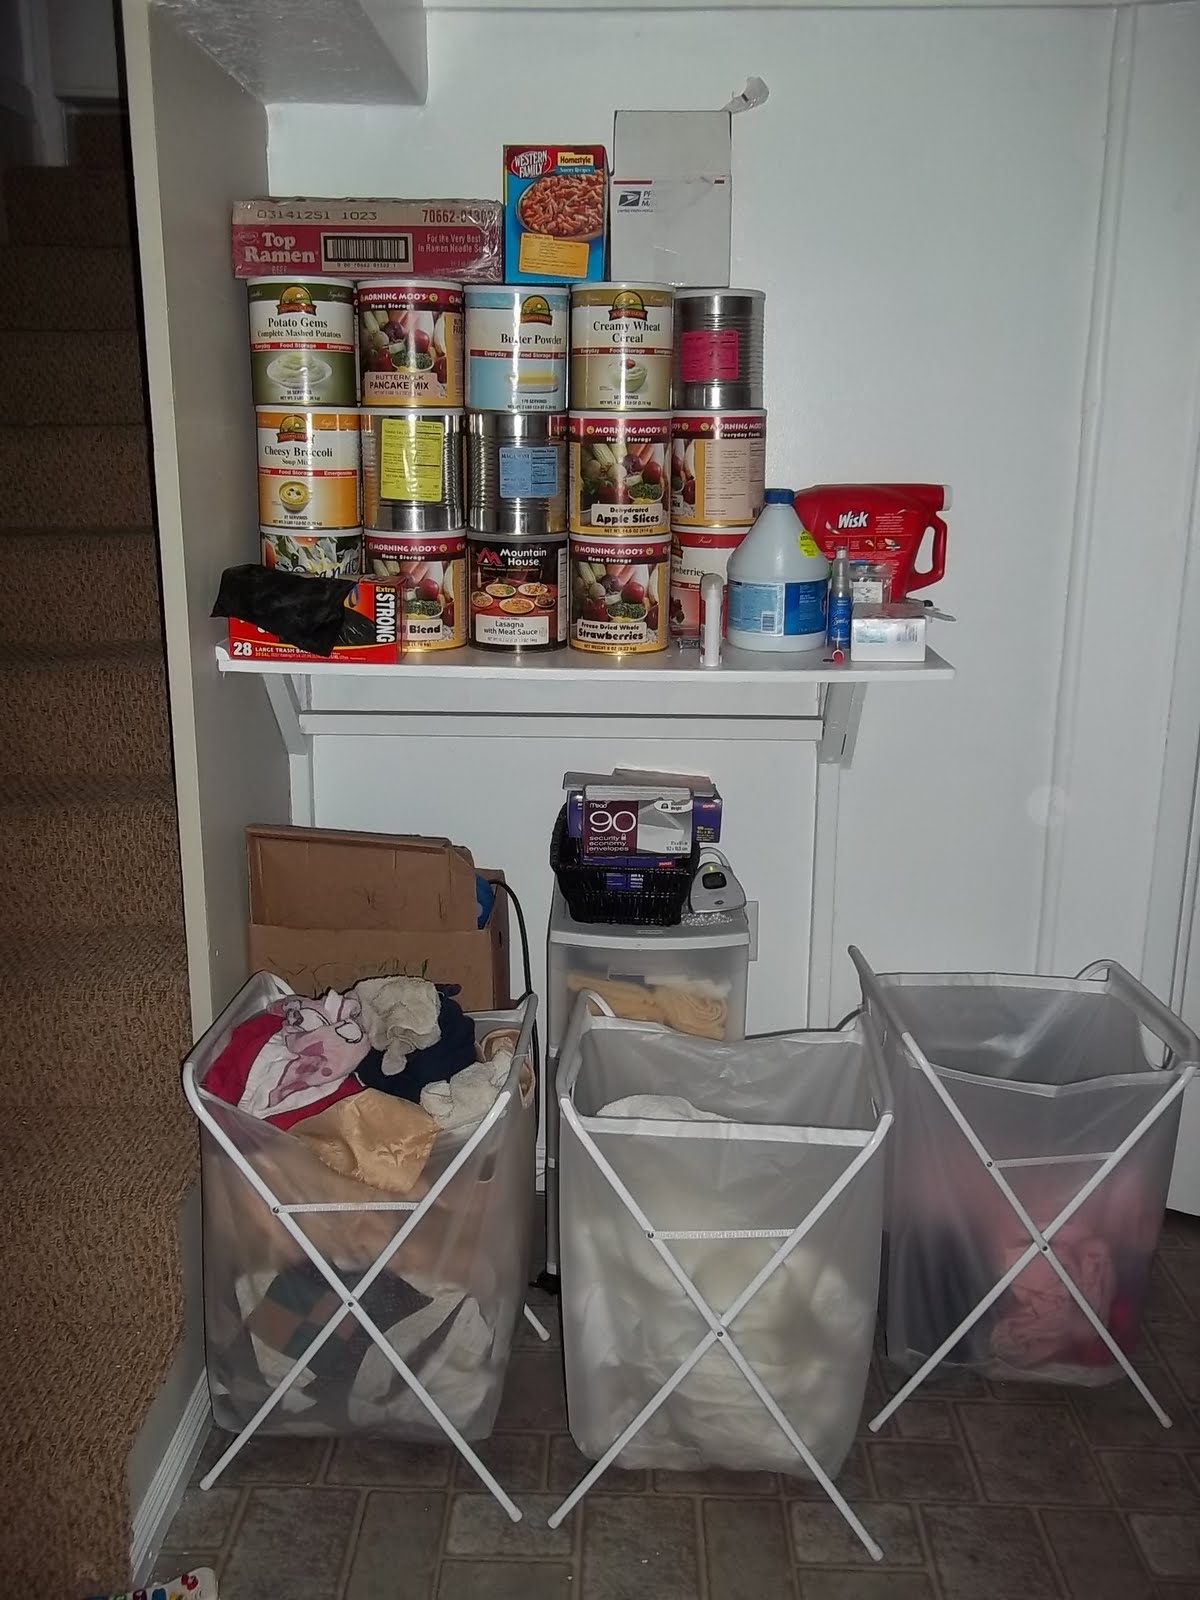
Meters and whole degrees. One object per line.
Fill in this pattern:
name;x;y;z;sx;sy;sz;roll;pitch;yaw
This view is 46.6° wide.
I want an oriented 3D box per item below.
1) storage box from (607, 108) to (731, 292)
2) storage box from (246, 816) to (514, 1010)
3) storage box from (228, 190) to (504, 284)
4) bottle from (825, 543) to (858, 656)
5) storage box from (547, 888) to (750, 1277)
storage box;0.090;-0.782;1.801;0.154;0.213;0.076;1;16;0
storage box;-0.351;0.204;1.937;0.346;0.312;0.181;6;-11;-36
storage box;-0.281;-0.683;1.684;0.325;0.104;0.142;-3;16;-14
bottle;0.296;-0.244;1.713;0.035;0.129;0.083;3;16;8
storage box;0.047;0.416;1.998;0.275;0.548;0.393;3;-12;-5
